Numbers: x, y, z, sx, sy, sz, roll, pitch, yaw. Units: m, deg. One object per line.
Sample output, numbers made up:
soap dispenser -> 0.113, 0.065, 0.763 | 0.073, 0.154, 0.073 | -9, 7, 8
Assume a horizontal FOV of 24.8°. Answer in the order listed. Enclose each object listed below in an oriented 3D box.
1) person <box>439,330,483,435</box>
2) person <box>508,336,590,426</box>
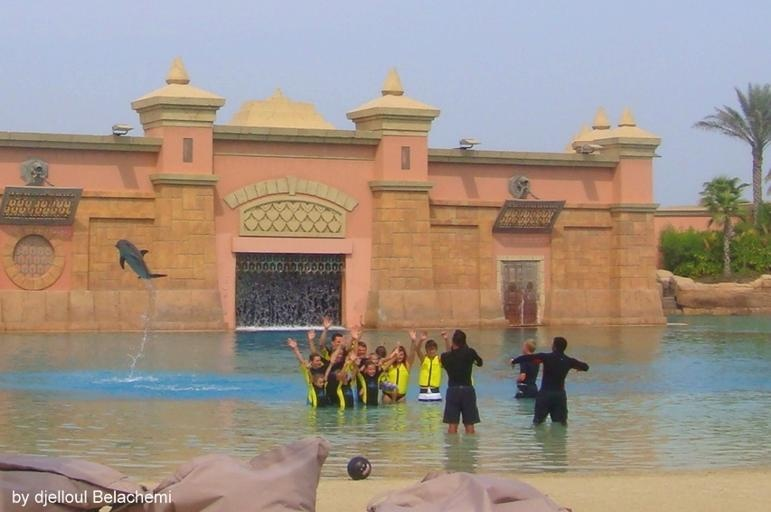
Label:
person -> 1.795, 3.119, 41.537 | 0.939, 2.461, 0.666 | -3, -4, 2
person -> 3.975, 3.125, 41.931 | 1.551, 2.107, 0.833 | -4, -5, 14
